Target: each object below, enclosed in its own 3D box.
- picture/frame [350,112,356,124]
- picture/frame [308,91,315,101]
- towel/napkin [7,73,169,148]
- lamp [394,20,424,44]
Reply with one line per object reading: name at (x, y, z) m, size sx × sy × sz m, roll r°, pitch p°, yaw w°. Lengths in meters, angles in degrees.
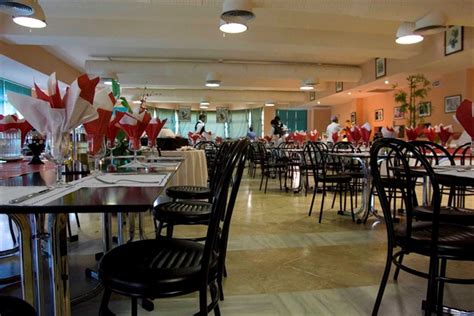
picture/frame at (4.772, -1.666, 13.569) m, size 0.182 × 0.436 × 0.805 m, roll 4°, pitch 11°, yaw 16°
picture/frame at (3.288, -2.730, 14.633) m, size 0.045 × 0.557 × 0.544 m, roll 1°, pitch 1°, yaw -20°
towel/napkin at (-0.940, -0.281, 1.904) m, size 0.485 × 0.393 × 0.446 m, roll 4°, pitch 6°, yaw 10°
lamp at (2.937, -2.074, 5.651) m, size 0.442 × 0.401 × 0.429 m, roll -1°, pitch 3°, yaw 5°
